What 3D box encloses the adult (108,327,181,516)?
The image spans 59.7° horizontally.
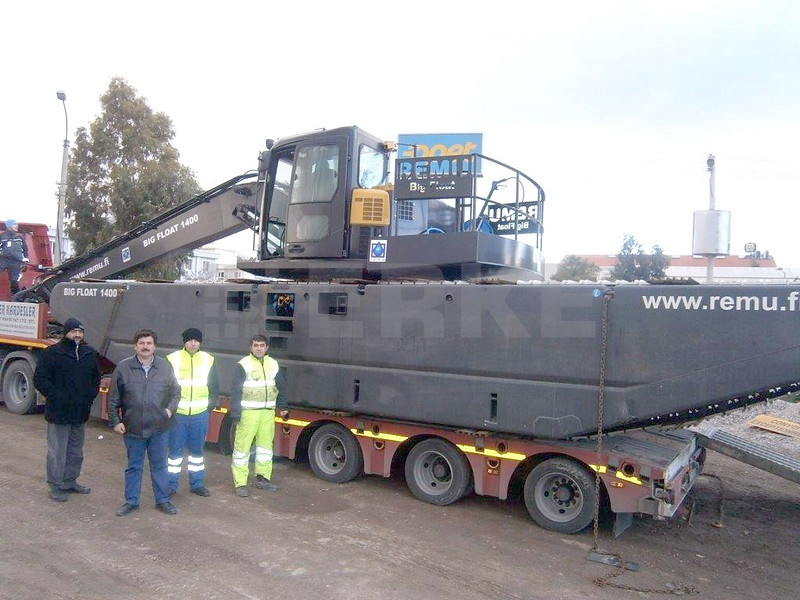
[{"bbox_3d":[-3.254,1.599,8.946,0.820,2.272,0.616,2,-8,-28],"label":"adult"}]

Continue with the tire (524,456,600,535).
[{"bbox_3d":[2.064,2.477,8.763,0.791,0.828,0.289,16,1,33],"label":"tire"}]

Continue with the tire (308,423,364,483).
[{"bbox_3d":[-0.920,2.267,10.246,0.831,0.873,0.281,3,-4,32],"label":"tire"}]

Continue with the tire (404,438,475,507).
[{"bbox_3d":[0.561,2.369,9.529,0.891,0.936,0.302,-2,-5,30],"label":"tire"}]

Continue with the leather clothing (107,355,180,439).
[{"bbox_3d":[-3.275,1.248,8.978,0.913,1.009,0.513,1,5,-35],"label":"leather clothing"}]

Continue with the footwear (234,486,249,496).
[{"bbox_3d":[-2.175,2.636,9.586,0.180,0.110,0.243,0,10,-15],"label":"footwear"}]

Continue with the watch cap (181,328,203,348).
[{"bbox_3d":[-2.849,0.532,9.580,0.269,0.224,0.312,2,-9,-24],"label":"watch cap"}]

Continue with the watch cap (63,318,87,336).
[{"bbox_3d":[-4.687,0.411,10.075,0.287,0.290,0.268,-7,-10,31],"label":"watch cap"}]

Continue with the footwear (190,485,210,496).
[{"bbox_3d":[-2.719,2.625,9.576,0.290,0.130,0.110,1,2,21],"label":"footwear"}]

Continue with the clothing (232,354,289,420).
[{"bbox_3d":[-2.002,1.262,9.822,0.865,0.950,0.435,4,-5,-40],"label":"clothing"}]
